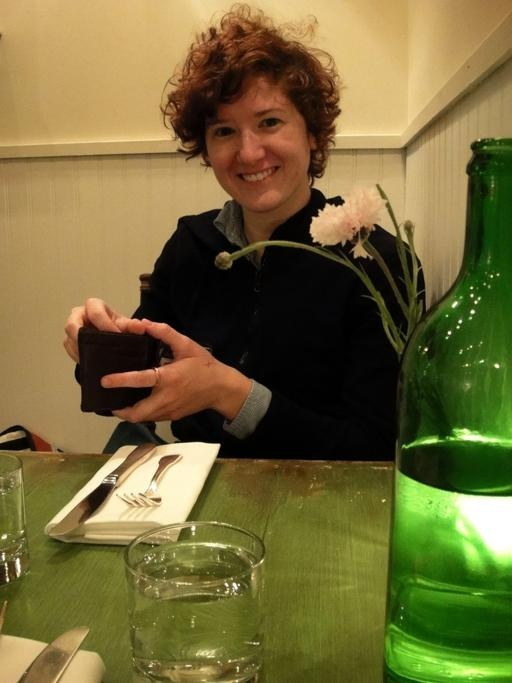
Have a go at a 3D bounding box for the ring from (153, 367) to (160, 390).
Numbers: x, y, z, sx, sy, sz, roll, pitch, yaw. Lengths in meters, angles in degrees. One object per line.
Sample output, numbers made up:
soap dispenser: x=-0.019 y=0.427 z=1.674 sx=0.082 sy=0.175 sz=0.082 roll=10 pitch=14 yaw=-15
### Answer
ring: x=-0.171 y=0.059 z=0.955 sx=0.011 sy=0.028 sz=0.022 roll=6 pitch=4 yaw=-16
